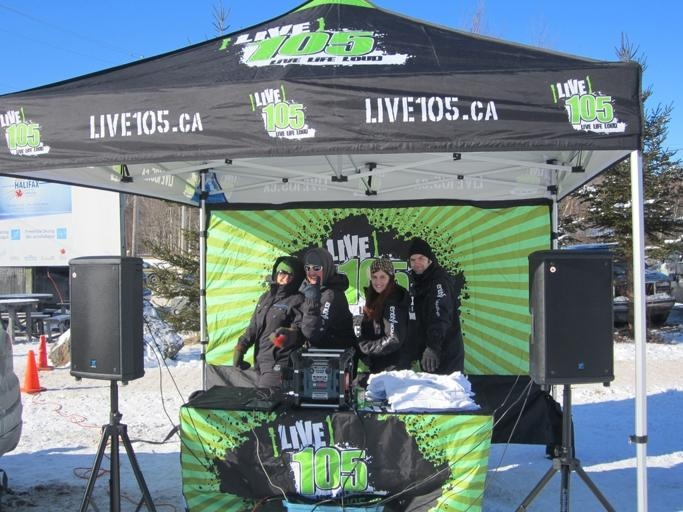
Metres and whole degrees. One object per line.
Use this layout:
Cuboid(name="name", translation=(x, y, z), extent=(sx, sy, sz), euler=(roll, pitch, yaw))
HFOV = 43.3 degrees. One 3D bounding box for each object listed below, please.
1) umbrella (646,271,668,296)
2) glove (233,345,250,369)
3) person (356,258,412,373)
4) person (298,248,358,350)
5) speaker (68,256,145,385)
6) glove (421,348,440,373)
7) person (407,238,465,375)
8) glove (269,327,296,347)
Cuboid(name="umbrella", translation=(6.617, 0.626, 18.164), extent=(0.747, 0.534, 0.738), euler=(-1, -5, 23))
Cuboid(name="glove", translation=(-1.118, 1.157, 9.647), extent=(0.272, 0.262, 0.171), euler=(5, -7, -2))
Cuboid(name="person", translation=(0.453, 0.663, 9.168), extent=(0.576, 1.031, 0.839), euler=(-4, 1, 1))
Cuboid(name="person", translation=(-0.188, 0.481, 9.381), extent=(0.308, 0.925, 0.655), euler=(-3, 2, 42))
Cuboid(name="speaker", translation=(-2.239, 0.612, 8.203), extent=(0.734, 1.154, 0.270), euler=(-4, 1, -13))
Cuboid(name="glove", translation=(0.954, 1.129, 9.129), extent=(0.198, 0.256, 0.080), euler=(-7, -17, 24))
Cuboid(name="person", translation=(1.080, 0.634, 9.713), extent=(0.555, 1.591, 1.019), euler=(-1, -30, -5))
Cuboid(name="glove", translation=(-0.627, 0.905, 9.355), extent=(0.268, 0.200, 0.278), euler=(-3, 1, 12))
